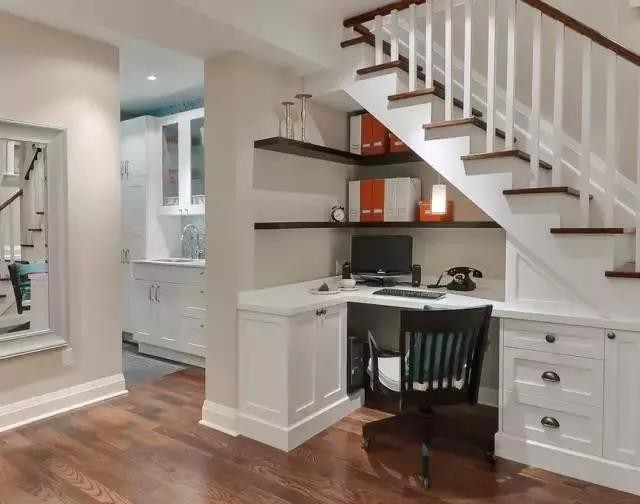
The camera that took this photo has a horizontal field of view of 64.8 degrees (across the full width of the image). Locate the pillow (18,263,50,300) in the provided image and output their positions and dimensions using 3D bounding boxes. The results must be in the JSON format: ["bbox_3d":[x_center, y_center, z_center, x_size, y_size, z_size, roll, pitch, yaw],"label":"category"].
[{"bbox_3d":[-2.203,0.223,3.851,0.096,0.289,0.242,-7,1,24],"label":"pillow"}]

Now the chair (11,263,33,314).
[{"bbox_3d":[-2.252,0.264,3.817,0.129,0.371,0.118,-8,12,-36],"label":"chair"}]

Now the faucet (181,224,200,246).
[{"bbox_3d":[-1.487,-0.209,5.789,0.347,0.211,0.056,9,14,42],"label":"faucet"}]

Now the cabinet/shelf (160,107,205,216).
[{"bbox_3d":[-1.328,-0.893,5.476,1.037,1.041,0.382,6,7,42],"label":"cabinet/shelf"}]

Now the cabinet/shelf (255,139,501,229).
[{"bbox_3d":[0.344,-0.565,4.203,1.698,0.694,1.101,-1,10,-3],"label":"cabinet/shelf"}]

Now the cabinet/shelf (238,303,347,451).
[{"bbox_3d":[-0.170,0.864,3.821,0.463,0.888,0.811,0,0,32],"label":"cabinet/shelf"}]

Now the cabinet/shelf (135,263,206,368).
[{"bbox_3d":[-1.496,0.641,5.121,0.955,0.844,0.372,-1,-3,39],"label":"cabinet/shelf"}]

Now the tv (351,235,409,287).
[{"bbox_3d":[0.529,0.056,4.337,0.515,0.408,0.176,0,17,6],"label":"tv"}]

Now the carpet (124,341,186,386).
[{"bbox_3d":[-1.715,1.096,5.127,0.545,0.097,1.199,-5,11,-25],"label":"carpet"}]

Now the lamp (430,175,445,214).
[{"bbox_3d":[0.915,-0.400,3.912,0.095,0.215,0.065,-1,10,-4],"label":"lamp"}]

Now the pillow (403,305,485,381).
[{"bbox_3d":[0.703,0.529,3.259,0.419,0.583,0.470,0,1,-10],"label":"pillow"}]

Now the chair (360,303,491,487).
[{"bbox_3d":[0.716,0.794,3.426,0.859,1.117,0.852,1,13,4],"label":"chair"}]

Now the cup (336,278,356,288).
[{"bbox_3d":[0.238,0.248,4.103,0.090,0.043,0.073,-5,5,-36],"label":"cup"}]
